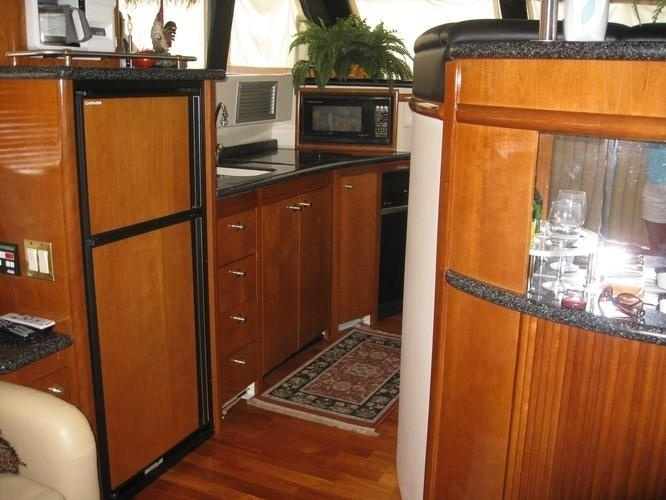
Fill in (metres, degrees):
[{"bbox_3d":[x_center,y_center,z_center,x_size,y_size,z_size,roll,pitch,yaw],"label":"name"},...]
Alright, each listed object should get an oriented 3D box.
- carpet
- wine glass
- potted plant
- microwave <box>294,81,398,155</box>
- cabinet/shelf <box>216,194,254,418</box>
[{"bbox_3d":[0.051,0.728,3.038,0.725,0.057,0.856,7,17,21],"label":"carpet"},{"bbox_3d":[0.609,-0.006,1.370,0.050,0.300,0.118,-7,18,-27],"label":"wine glass"},{"bbox_3d":[0.111,-1.379,3.728,0.661,0.299,0.655,10,20,17],"label":"potted plant"},{"bbox_3d":[0.081,-0.891,3.658,0.813,0.474,0.455,5,13,18],"label":"microwave"},{"bbox_3d":[-0.462,0.274,2.663,0.106,1.094,0.414,5,17,13],"label":"cabinet/shelf"}]
